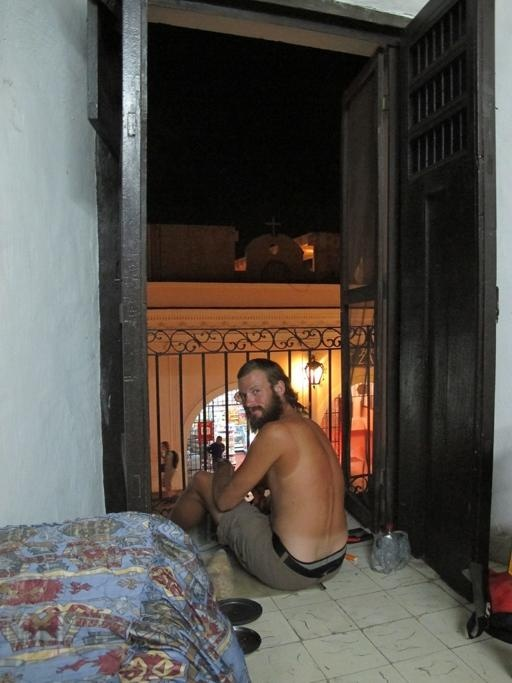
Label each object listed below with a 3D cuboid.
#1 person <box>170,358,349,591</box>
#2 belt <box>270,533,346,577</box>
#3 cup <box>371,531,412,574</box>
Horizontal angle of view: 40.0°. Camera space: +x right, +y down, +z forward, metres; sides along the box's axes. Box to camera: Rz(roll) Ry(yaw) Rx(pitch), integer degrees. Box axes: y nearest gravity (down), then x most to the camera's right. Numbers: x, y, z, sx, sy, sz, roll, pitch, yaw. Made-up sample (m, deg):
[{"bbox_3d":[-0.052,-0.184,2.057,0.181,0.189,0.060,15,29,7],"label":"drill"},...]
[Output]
[{"bbox_3d":[0.120,0.583,3.298,0.640,0.879,1.052,2,5,-41],"label":"person"},{"bbox_3d":[0.208,0.862,2.779,0.200,0.073,0.204,2,3,-27],"label":"belt"},{"bbox_3d":[0.547,0.888,2.992,0.163,0.163,0.166,0,-38,0],"label":"cup"}]
